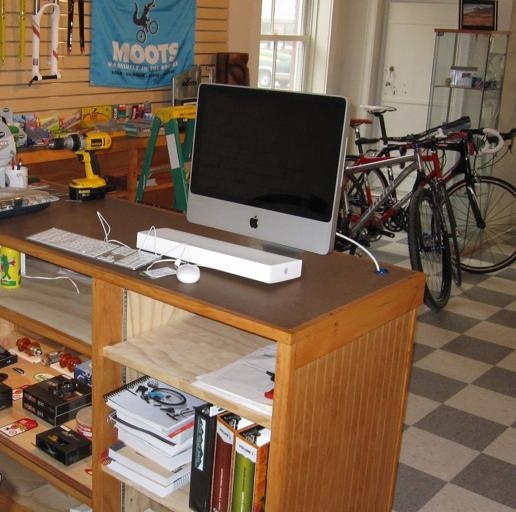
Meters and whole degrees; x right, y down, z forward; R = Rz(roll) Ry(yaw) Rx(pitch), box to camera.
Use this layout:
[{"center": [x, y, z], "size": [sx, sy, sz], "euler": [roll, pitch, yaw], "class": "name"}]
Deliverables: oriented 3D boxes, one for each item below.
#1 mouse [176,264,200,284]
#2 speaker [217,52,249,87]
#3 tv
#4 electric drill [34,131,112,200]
[{"center": [-0.163, 0.042, 1.132], "size": [0.040, 0.018, 0.051], "euler": [1, 26, -3], "class": "mouse"}, {"center": [-0.256, -1.890, 4.860], "size": [0.342, 0.363, 0.301], "euler": [6, 9, -9], "class": "speaker"}, {"center": [0.076, -0.258, 1.328], "size": [0.577, 0.430, 0.145], "euler": [14, 27, 31], "class": "tv"}, {"center": [-0.731, -0.402, 2.047], "size": [0.268, 0.285, 0.257], "euler": [19, 28, 33], "class": "electric drill"}]
